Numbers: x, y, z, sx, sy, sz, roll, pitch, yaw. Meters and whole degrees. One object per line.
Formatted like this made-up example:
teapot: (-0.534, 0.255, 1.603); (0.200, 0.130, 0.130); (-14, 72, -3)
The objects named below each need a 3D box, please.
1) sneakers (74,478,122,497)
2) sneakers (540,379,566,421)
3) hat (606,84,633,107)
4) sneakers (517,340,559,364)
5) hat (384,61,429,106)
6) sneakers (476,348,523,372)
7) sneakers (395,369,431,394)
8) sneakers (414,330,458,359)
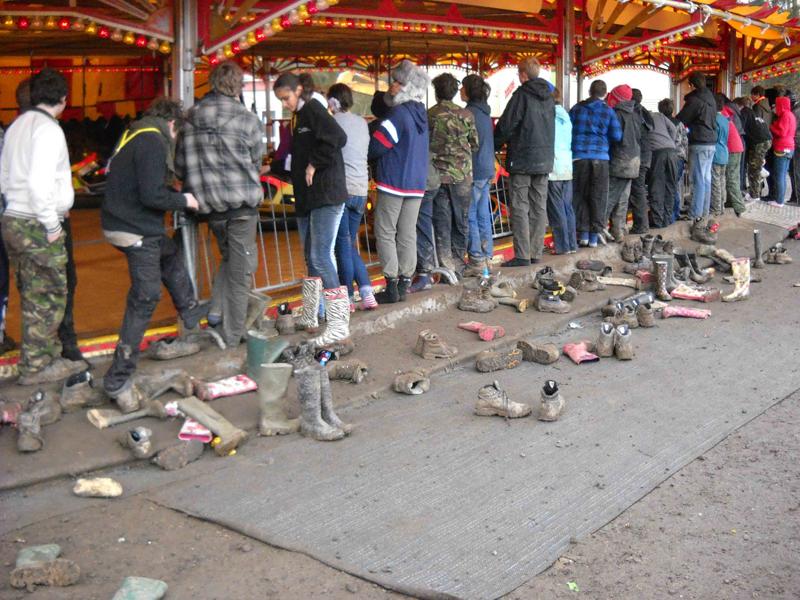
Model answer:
sneakers: (-1.780, 1.105, 3.527); (0.231, 0.060, 0.127); (7, 16, -1)
sneakers: (1.129, 0.754, 4.544); (0.142, 0.244, 0.371); (1, 8, 13)
hat: (3.570, -3.325, 9.682); (0.327, 0.376, 0.419); (-5, 25, -18)
sneakers: (1.296, 0.489, 5.628); (0.253, 0.111, 0.264); (4, 4, 19)
hat: (0.019, -2.359, 6.613); (0.511, 0.496, 0.439); (7, 14, 33)
sneakers: (0.900, 0.563, 5.496); (0.284, 0.106, 0.279); (-2, 8, 7)
sneakers: (0.093, 0.688, 5.084); (0.300, 0.167, 0.265); (2, 10, 21)
sneakers: (0.339, 0.416, 5.637); (0.393, 0.161, 0.222); (4, 14, 19)
